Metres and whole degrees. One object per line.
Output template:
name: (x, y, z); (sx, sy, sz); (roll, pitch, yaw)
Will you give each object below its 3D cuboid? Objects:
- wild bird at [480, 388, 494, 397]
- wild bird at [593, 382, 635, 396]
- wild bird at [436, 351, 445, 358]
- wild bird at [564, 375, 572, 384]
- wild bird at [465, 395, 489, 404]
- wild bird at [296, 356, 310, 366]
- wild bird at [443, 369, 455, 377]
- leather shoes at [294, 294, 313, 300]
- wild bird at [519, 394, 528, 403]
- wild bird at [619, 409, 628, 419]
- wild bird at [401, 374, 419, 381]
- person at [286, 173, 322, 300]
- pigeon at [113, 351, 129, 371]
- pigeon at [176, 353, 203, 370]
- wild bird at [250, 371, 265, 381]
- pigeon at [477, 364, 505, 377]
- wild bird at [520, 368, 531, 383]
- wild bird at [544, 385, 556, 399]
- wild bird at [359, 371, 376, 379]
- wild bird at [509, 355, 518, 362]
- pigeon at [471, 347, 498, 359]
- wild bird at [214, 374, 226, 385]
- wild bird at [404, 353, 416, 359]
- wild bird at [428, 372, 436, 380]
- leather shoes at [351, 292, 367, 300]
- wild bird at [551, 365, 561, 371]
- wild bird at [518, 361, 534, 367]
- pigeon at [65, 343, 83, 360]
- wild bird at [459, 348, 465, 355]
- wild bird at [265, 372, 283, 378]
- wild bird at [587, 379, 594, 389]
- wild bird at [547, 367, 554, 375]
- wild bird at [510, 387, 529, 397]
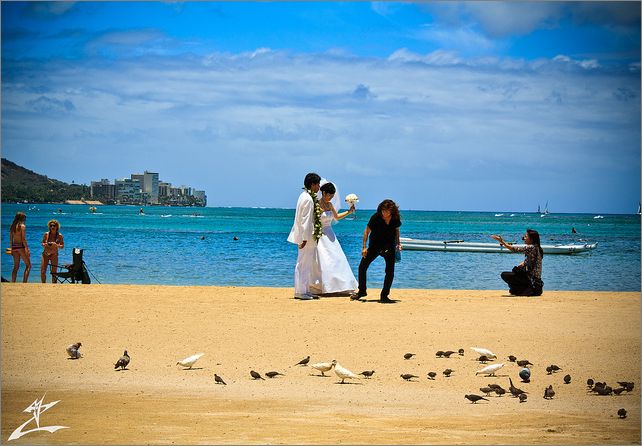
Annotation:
wild bird: (3.506, 3.538, 20.451); (0.277, 0.172, 0.122); (1, 1, 9)
wild bird: (6.249, 3.502, 20.565); (0.894, 0.244, 0.407); (0, 1, -23)
wild bird: (2.674, 2.951, 21.918); (0.184, 0.130, 0.110); (1, 1, 5)
wild bird: (5.294, 3.344, 20.774); (0.175, 0.158, 0.139); (0, -11, 11)
wild bird: (3.235, 3.633, 20.216); (0.433, 0.146, 0.135); (-10, -1, -24)
wild bird: (-0.410, 3.050, 21.589); (0.272, 0.162, 0.355); (1, 1, 20)
wild bird: (2.805, 3.250, 21.166); (0.134, 0.154, 0.319); (1, 1, 42)
leather shoes: (-0.499, 2.009, 26.879); (0.555, 0.187, 0.173); (0, 2, 2)
wild bird: (4.245, 3.650, 20.324); (0.157, 0.171, 0.210); (1, 1, 11)
wild bird: (6.209, 3.887, 19.817); (0.240, 0.189, 0.139); (0, 1, -13)
wild bird: (1.909, 3.307, 20.901); (0.404, 0.134, 0.123); (-1, -12, -5)
person: (-0.481, 0.353, 26.588); (0.853, 3.483, 0.967); (1, 1, 2)
pigeon: (-4.426, 2.990, 21.226); (0.340, 0.392, 0.395); (0, 1, -12)
pigeon: (-2.947, 2.996, 21.232); (0.568, 0.348, 0.733); (0, 1, -8)
wild bird: (-1.426, 3.271, 20.954); (0.270, 0.178, 0.273); (0, 1, -12)
pigeon: (3.662, 3.166, 21.088); (0.592, 0.287, 0.429); (1, 1, 8)
wild bird: (4.430, 3.282, 20.975); (0.255, 0.273, 0.217); (1, 1, 4)
wild bird: (4.824, 3.533, 20.382); (0.204, 0.210, 0.230); (7, 16, 15)
wild bird: (1.004, 3.274, 21.060); (0.332, 0.159, 0.240); (0, 1, -6)
wild bird: (4.313, 3.027, 21.758); (0.185, 0.119, 0.255); (1, 1, 7)
pigeon: (3.677, 2.900, 21.768); (0.691, 0.267, 0.333); (0, 1, -11)
wild bird: (-2.212, 3.328, 20.710); (0.256, 0.147, 0.141); (10, 22, 42)
wild bird: (1.993, 2.969, 21.829); (0.241, 0.110, 0.086); (-6, 44, 4)
wild bird: (2.398, 3.295, 20.943); (0.157, 0.105, 0.142); (0, -2, -2)
leather shoes: (0.958, 1.981, 26.891); (0.540, 0.190, 0.165); (1, 6, -11)
wild bird: (5.160, 3.160, 21.279); (0.186, 0.104, 0.316); (1, 1, 43)
wild bird: (4.548, 3.098, 21.510); (0.355, 0.148, 0.179); (1, 1, 0)
pigeon: (-5.556, 2.869, 21.681); (0.288, 0.363, 0.357); (2, 40, -47)
wild bird: (3.198, 2.929, 22.112); (0.104, 0.098, 0.114); (0, 1, -7)
wild bird: (-1.055, 3.259, 20.920); (0.296, 0.102, 0.124); (-7, -21, 9)
wild bird: (5.747, 3.408, 20.620); (0.134, 0.159, 0.082); (-4, -4, 32)
wild bird: (4.983, 3.212, 21.204); (0.162, 0.165, 0.161); (0, 1, -30)
wild bird: (4.175, 3.536, 20.410); (0.347, 0.127, 0.242); (-12, 24, -4)
